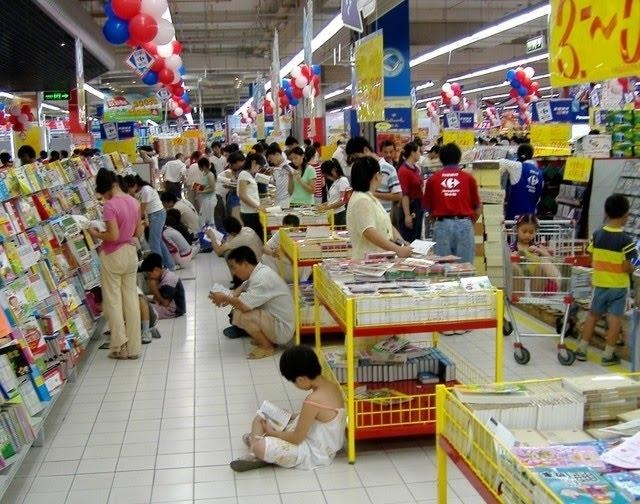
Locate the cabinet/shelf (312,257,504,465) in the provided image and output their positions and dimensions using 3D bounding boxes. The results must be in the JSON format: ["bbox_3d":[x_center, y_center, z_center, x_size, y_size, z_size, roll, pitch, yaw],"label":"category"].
[{"bbox_3d":[0.547,0.571,3.640,1.688,1.551,1.261,-2,5,-15],"label":"cabinet/shelf"}]

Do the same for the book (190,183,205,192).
[{"bbox_3d":[-3.128,-1.612,11.814,0.311,0.076,0.314,18,-29,-25],"label":"book"}]

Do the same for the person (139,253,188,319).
[{"bbox_3d":[-2.377,0.586,6.752,0.695,1.054,0.519,-4,6,-27],"label":"person"}]

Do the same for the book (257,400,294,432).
[{"bbox_3d":[-0.341,1.223,3.512,0.195,0.061,0.200,30,19,12],"label":"book"}]

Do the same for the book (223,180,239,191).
[{"bbox_3d":[-1.970,-1.452,10.271,0.258,0.183,0.656,-9,12,-37],"label":"book"}]

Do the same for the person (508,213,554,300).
[{"bbox_3d":[2.293,0.026,4.934,0.463,0.785,0.863,3,10,25],"label":"person"}]

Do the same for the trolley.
[{"bbox_3d":[2.501,0.383,5.131,0.731,1.354,1.297,0,10,19],"label":"trolley"}]

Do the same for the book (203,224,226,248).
[{"bbox_3d":[-1.993,-0.308,8.691,0.350,0.473,0.171,44,44,15],"label":"book"}]

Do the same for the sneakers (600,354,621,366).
[{"bbox_3d":[2.993,1.102,4.804,0.241,0.119,0.096,-8,10,-22],"label":"sneakers"}]

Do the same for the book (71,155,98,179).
[{"bbox_3d":[-3.382,-1.190,6.606,0.379,0.105,0.370,22,21,-29],"label":"book"}]

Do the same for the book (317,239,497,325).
[{"bbox_3d":[0.601,0.252,3.537,1.155,0.340,0.942,-3,10,-5],"label":"book"}]

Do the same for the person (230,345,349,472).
[{"bbox_3d":[-0.230,1.133,3.428,0.747,0.824,0.699,1,3,9],"label":"person"}]

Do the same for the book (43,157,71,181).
[{"bbox_3d":[-3.136,-0.934,5.489,0.068,0.297,0.297,-7,1,17],"label":"book"}]

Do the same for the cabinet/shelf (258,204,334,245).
[{"bbox_3d":[-0.396,-0.499,7.061,0.736,0.485,0.717,0,7,-5],"label":"cabinet/shelf"}]

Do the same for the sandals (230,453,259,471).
[{"bbox_3d":[-0.530,1.478,3.300,0.230,0.089,0.094,-2,21,-23],"label":"sandals"}]

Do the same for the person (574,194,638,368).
[{"bbox_3d":[2.840,0.318,4.587,0.473,1.758,0.537,4,10,30],"label":"person"}]

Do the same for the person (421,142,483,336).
[{"bbox_3d":[1.570,-0.311,5.592,0.600,1.939,0.553,-1,15,11],"label":"person"}]

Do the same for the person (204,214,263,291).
[{"bbox_3d":[-1.408,0.003,7.628,0.827,1.168,0.551,-4,13,-27],"label":"person"}]

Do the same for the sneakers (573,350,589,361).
[{"bbox_3d":[2.763,1.083,4.935,0.077,0.097,0.218,1,9,-2],"label":"sneakers"}]

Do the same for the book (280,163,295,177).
[{"bbox_3d":[-0.616,-1.513,8.584,0.199,0.286,0.102,24,36,33],"label":"book"}]

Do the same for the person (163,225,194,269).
[{"bbox_3d":[-2.993,-0.093,9.443,0.622,0.798,0.603,0,13,-6],"label":"person"}]

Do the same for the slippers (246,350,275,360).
[{"bbox_3d":[-0.672,1.147,5.267,0.207,0.081,0.113,1,3,-14],"label":"slippers"}]

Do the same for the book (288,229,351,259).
[{"bbox_3d":[0.012,-0.086,5.176,0.434,0.206,0.448,-1,6,-9],"label":"book"}]

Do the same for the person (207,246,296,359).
[{"bbox_3d":[-0.768,0.562,5.377,0.866,1.260,0.778,-5,7,2],"label":"person"}]

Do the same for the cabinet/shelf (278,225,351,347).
[{"bbox_3d":[-0.219,0.342,5.652,0.772,0.981,1.347,9,-5,0],"label":"cabinet/shelf"}]
